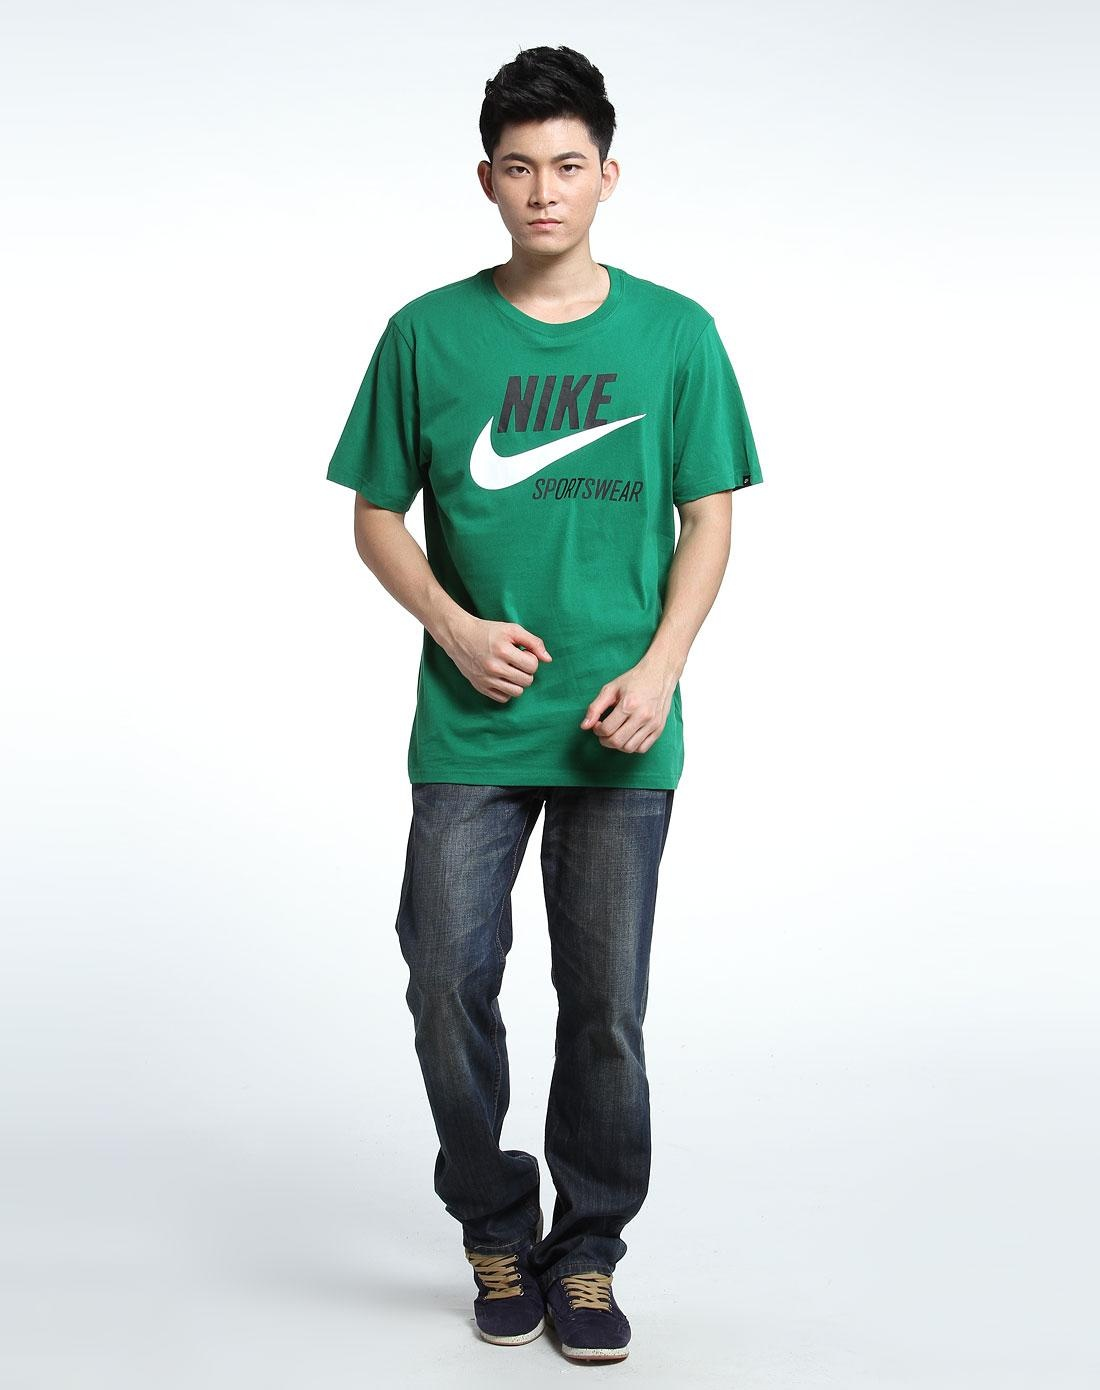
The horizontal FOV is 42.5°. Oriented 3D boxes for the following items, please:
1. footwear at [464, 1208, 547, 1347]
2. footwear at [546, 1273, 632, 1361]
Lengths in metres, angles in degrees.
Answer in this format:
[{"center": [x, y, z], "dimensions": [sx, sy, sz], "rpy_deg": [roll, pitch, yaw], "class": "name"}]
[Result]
[{"center": [-0.059, 0.829, 2.016], "dimensions": [0.069, 0.173, 0.077], "rpy_deg": [-11, -36, 12], "class": "footwear"}, {"center": [0.060, 0.863, 2.006], "dimensions": [0.095, 0.092, 0.235], "rpy_deg": [2, -8, -5], "class": "footwear"}]
